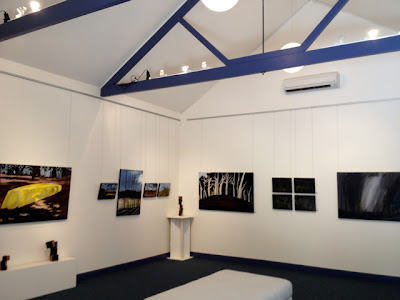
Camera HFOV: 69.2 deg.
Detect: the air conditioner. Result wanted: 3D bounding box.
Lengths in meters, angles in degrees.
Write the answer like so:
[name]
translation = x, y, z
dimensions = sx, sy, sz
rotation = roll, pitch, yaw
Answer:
[air conditioner]
translation = 2.927, -1.791, 7.711
dimensions = 1.366, 0.365, 0.248
rotation = -2, -4, 28
